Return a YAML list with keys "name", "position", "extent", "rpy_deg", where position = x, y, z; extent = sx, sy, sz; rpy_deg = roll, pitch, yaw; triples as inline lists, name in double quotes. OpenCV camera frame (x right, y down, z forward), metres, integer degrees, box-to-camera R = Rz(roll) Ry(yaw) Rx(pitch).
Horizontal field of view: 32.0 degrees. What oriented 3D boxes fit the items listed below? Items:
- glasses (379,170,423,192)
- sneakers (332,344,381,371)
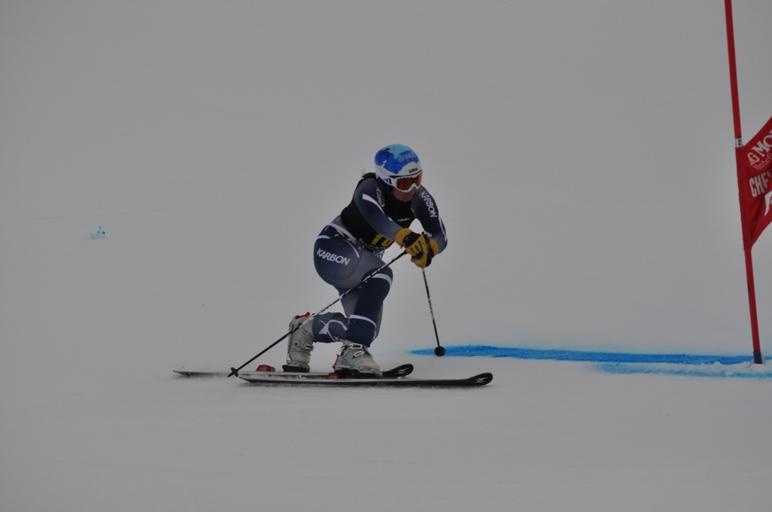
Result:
- name: "glasses"
  position: [0.097, -0.500, 8.779]
  extent: [0.145, 0.069, 0.178]
  rpy_deg: [-18, 22, -42]
- name: "sneakers"
  position: [-0.189, 0.671, 8.782]
  extent: [0.326, 0.190, 0.124]
  rpy_deg: [7, 16, 29]
